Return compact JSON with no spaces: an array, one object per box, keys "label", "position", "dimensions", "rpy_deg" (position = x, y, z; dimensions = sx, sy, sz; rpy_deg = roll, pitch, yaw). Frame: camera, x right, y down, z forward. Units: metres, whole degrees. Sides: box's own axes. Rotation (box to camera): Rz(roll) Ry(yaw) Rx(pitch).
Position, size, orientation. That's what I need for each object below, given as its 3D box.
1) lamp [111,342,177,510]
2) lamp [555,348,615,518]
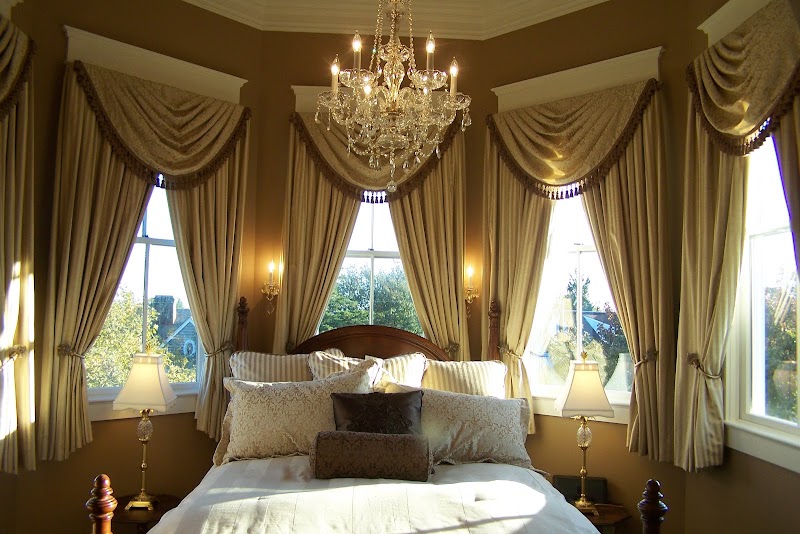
[{"label":"lamp","position":[-2.281,1.404,5.390],"dimensions":[0.495,1.302,0.701],"rpy_deg":[4,-6,-25]},{"label":"lamp","position":[1.652,1.458,5.486],"dimensions":[0.456,1.388,0.578],"rpy_deg":[0,-5,11]}]
